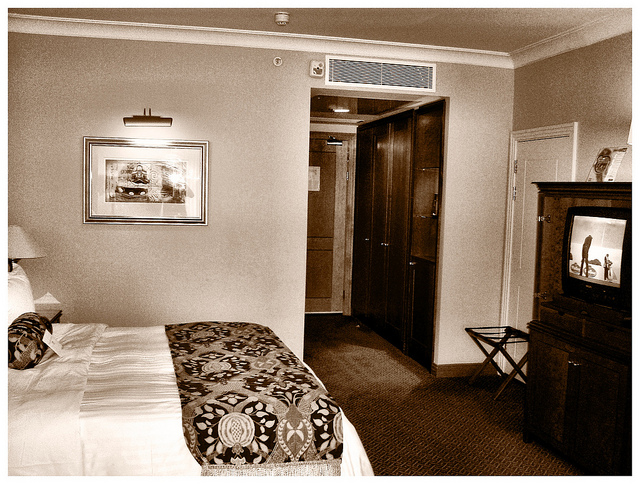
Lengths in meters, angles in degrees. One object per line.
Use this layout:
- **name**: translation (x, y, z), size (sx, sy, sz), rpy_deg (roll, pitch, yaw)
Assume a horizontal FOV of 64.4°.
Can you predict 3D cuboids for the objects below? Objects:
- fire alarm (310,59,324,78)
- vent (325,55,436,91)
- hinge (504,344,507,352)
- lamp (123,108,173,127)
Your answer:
- **fire alarm**: translation (-0.029, -1.590, 4.653), size (0.178, 0.162, 0.055), rpy_deg (0, 4, -14)
- **vent**: translation (0.571, -1.574, 4.778), size (1.080, 0.285, 0.035), rpy_deg (1, 2, -7)
- **hinge**: translation (1.836, 1.043, 5.028), size (0.024, 0.061, 0.042), rpy_deg (11, 10, 34)
- **lamp**: translation (-1.494, -1.081, 4.445), size (0.404, 0.176, 0.143), rpy_deg (2, 9, -19)
